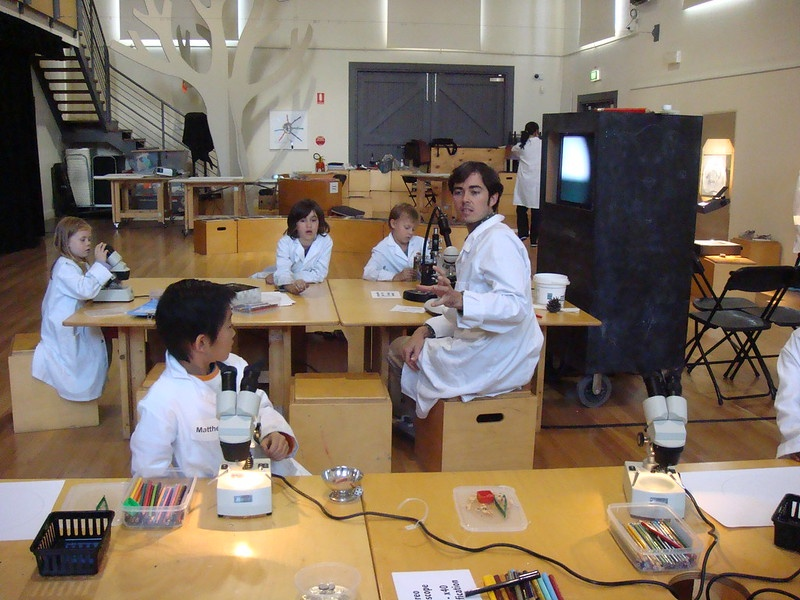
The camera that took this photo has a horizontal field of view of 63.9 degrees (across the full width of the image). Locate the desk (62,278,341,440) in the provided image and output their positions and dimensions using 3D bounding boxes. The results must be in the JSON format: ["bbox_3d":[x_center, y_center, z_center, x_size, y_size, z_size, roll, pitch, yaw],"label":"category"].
[{"bbox_3d":[-0.982,0.157,3.411,0.997,0.528,0.971,-1,15,-5],"label":"desk"}]

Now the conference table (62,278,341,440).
[{"bbox_3d":[-1.032,0.675,3.596,1.342,1.392,0.697,-5,56,-20],"label":"conference table"}]

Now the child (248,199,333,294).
[{"bbox_3d":[-0.735,-0.363,4.459,0.519,0.568,1.095,1,-3,-10],"label":"child"}]

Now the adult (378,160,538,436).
[{"bbox_3d":[0.314,-0.031,3.076,0.744,1.169,0.609,2,10,20],"label":"adult"}]

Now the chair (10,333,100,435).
[{"bbox_3d":[-1.883,0.423,3.650,0.608,0.607,0.428,-1,3,-11],"label":"chair"}]

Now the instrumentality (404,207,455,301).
[{"bbox_3d":[0.193,-0.265,3.578,0.218,0.490,0.295,22,24,39],"label":"instrumentality"}]

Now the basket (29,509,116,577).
[{"bbox_3d":[-0.744,0.566,1.509,0.170,0.068,0.212,1,4,-15],"label":"basket"}]

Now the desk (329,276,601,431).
[{"bbox_3d":[0.355,0.271,3.264,0.738,0.383,0.762,0,12,-6],"label":"desk"}]

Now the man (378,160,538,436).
[{"bbox_3d":[0.306,-0.016,3.071,0.703,1.205,0.640,3,10,23],"label":"man"}]

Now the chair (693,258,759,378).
[{"bbox_3d":[2.280,0.145,4.346,0.343,0.592,0.415,12,-3,17],"label":"chair"}]

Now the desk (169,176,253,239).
[{"bbox_3d":[-2.636,-1.435,9.219,1.031,0.779,0.979,-2,12,-9],"label":"desk"}]

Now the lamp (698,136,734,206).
[{"bbox_3d":[3.559,-1.476,7.280,0.196,0.689,0.501,-3,14,-8],"label":"lamp"}]

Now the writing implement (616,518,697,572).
[{"bbox_3d":[0.632,0.592,1.583,0.088,0.033,0.108,-1,16,-2],"label":"writing implement"}]

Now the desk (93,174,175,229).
[{"bbox_3d":[-3.826,-1.464,9.458,0.918,0.796,1.285,-6,15,-21],"label":"desk"}]

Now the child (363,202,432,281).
[{"bbox_3d":[0.018,-0.356,4.447,0.662,0.587,0.386,-8,12,-40],"label":"child"}]

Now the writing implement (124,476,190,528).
[{"bbox_3d":[-0.618,0.510,1.668,0.096,0.040,0.128,1,12,-4],"label":"writing implement"}]

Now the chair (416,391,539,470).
[{"bbox_3d":[0.398,0.617,3.006,0.435,0.277,0.429,-1,2,-6],"label":"chair"}]

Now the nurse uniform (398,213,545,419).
[{"bbox_3d":[0.366,0.052,3.103,0.615,0.905,0.779,-6,8,-35],"label":"nurse uniform"}]

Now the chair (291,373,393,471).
[{"bbox_3d":[-0.269,0.517,2.997,0.445,0.398,0.430,0,9,-4],"label":"chair"}]

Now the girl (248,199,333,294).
[{"bbox_3d":[-0.742,-0.400,4.470,0.553,0.585,1.184,0,10,-9],"label":"girl"}]
